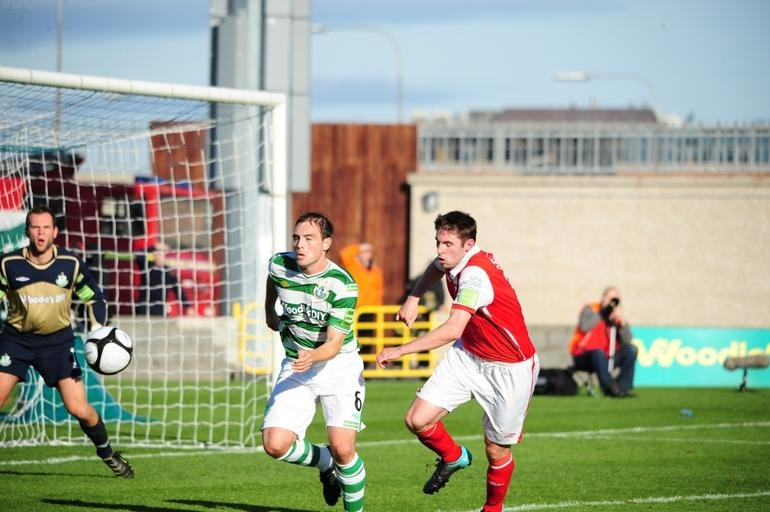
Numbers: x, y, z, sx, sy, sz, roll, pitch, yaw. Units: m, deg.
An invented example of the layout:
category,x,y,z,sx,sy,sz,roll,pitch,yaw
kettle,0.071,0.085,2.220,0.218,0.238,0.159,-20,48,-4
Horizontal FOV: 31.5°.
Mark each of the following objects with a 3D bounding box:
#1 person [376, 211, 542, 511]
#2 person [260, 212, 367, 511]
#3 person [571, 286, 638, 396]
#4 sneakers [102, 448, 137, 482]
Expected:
category,x,y,z,sx,sy,sz,roll,pitch,yaw
person,1.072,1.332,16.874,1.592,3.773,1.150,0,4,6
person,-0.868,1.323,16.709,1.229,3.707,0.863,-1,4,-3
person,3.576,1.375,21.944,0.524,1.659,1.415,-2,4,-22
sneakers,-3.547,2.733,18.042,0.206,0.572,0.257,-41,17,10
